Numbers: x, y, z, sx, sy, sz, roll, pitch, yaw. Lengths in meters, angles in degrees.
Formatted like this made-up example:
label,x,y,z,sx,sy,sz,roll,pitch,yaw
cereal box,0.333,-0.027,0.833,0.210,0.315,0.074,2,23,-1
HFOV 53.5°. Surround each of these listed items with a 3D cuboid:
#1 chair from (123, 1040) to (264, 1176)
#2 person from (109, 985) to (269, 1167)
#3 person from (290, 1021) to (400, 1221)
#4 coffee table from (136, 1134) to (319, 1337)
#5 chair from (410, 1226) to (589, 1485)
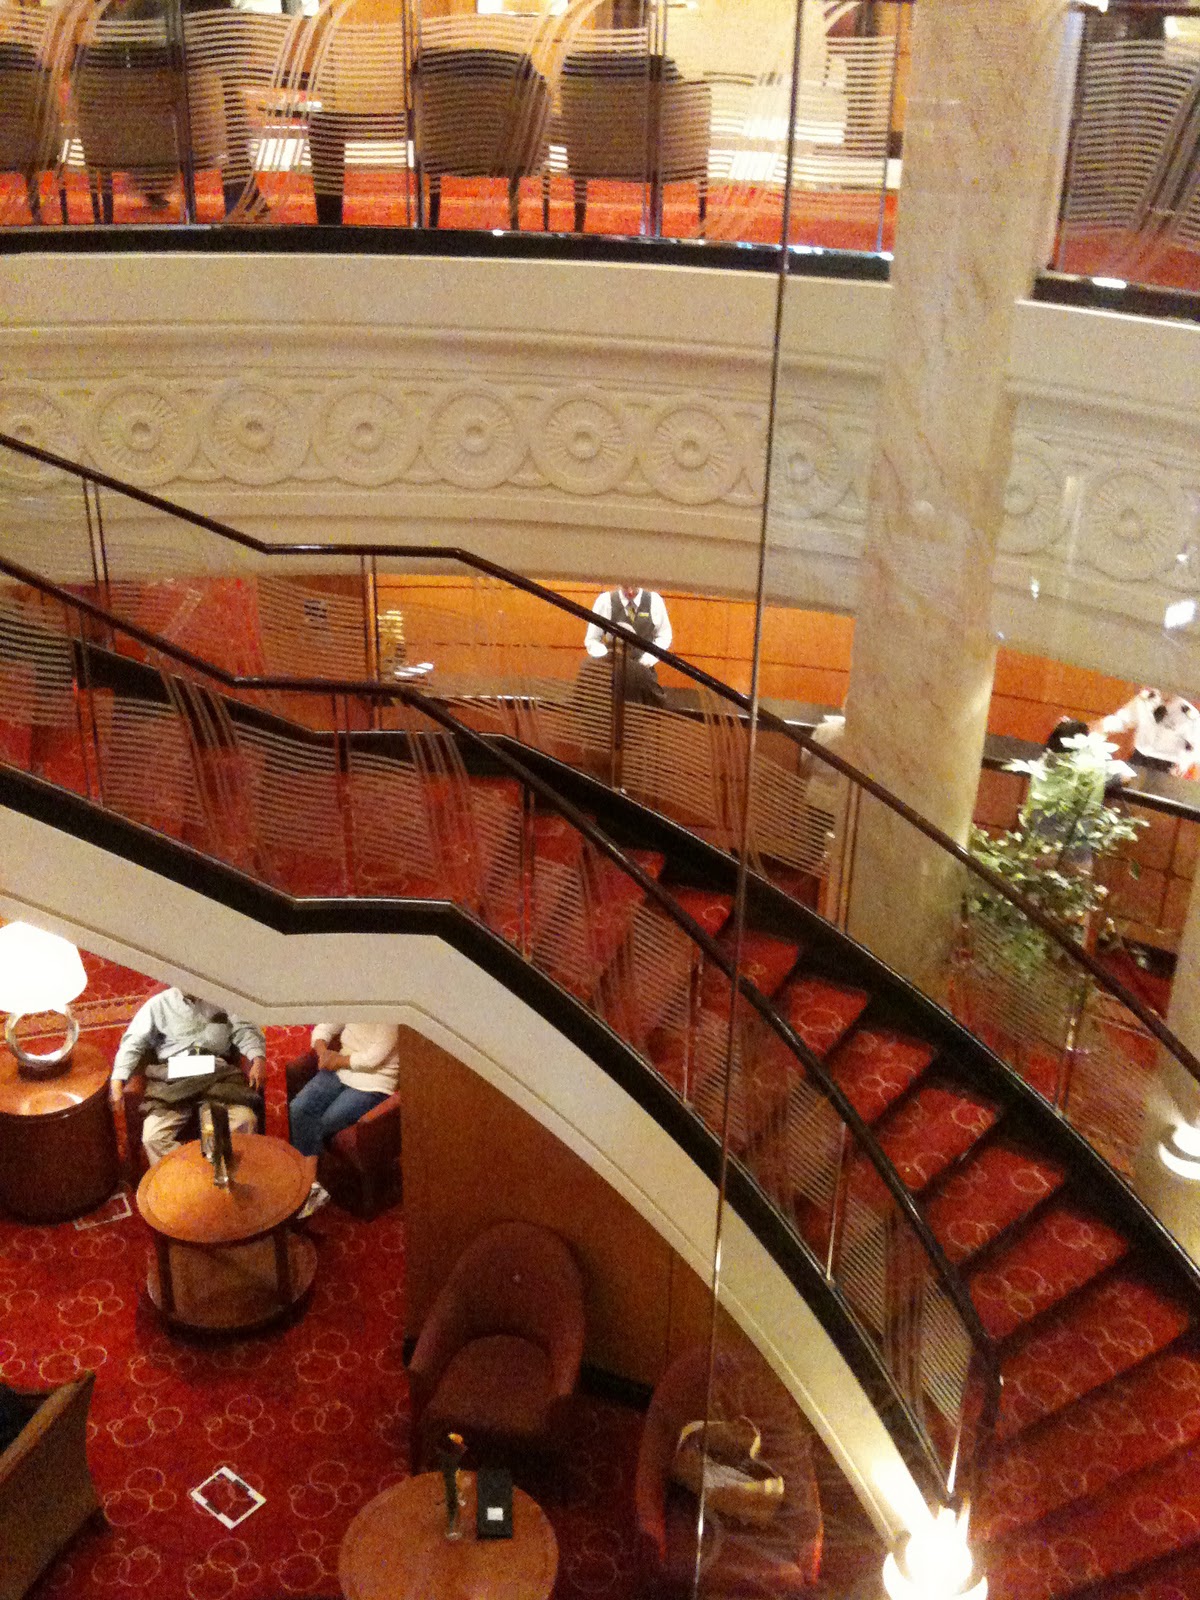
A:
label,x,y,z,sx,sy,sz,roll,pitch,yaw
chair,-2.315,1.709,6.902,0.589,0.791,0.725,-2,18,-6
person,-2.329,1.649,6.806,0.776,0.918,0.873,8,4,28
person,-1.451,1.697,6.787,0.633,1.049,0.622,7,27,8
coffee table,-1.928,2.223,6.196,0.885,0.605,0.951,-11,29,-26
chair,-0.483,2.626,5.552,0.790,0.950,0.909,4,7,-6
